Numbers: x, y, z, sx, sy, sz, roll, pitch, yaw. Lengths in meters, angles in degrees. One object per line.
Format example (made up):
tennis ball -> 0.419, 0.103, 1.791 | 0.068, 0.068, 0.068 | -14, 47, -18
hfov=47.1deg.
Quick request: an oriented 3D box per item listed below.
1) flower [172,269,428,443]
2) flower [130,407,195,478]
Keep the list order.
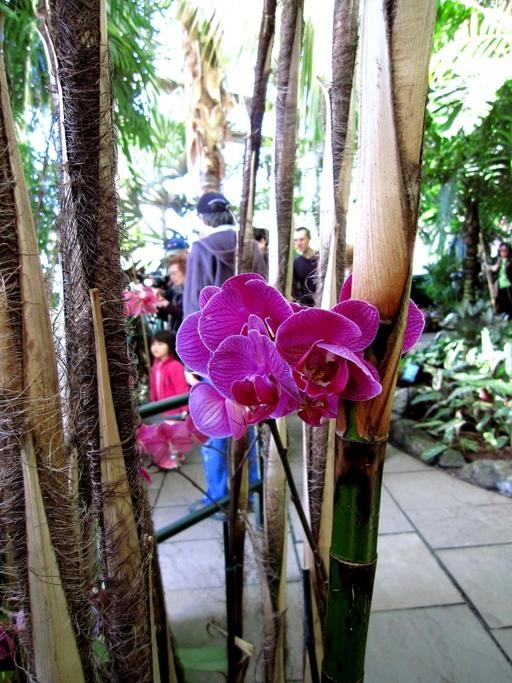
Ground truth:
flower -> 0.034, 0.026, 0.704 | 0.305, 0.214, 0.200 | 6, 9, 16
flower -> -0.193, 0.212, 1.276 | 0.183, 0.059, 0.164 | -20, 5, 20
